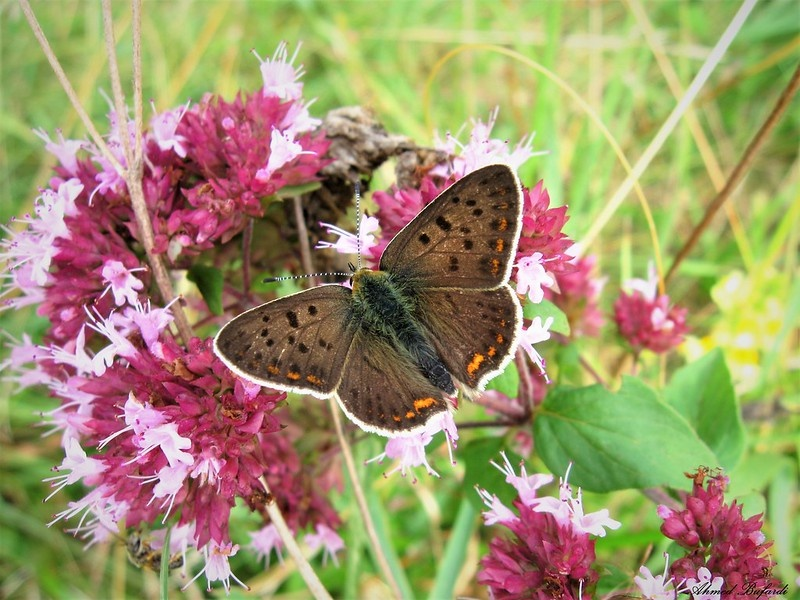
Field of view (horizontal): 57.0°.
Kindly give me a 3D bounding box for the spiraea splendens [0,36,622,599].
[{"bbox_3d":[-0.633,0.462,4.791,3.234,1.588,3.248,-18,84,-8],"label":"spiraea splendens"}]
